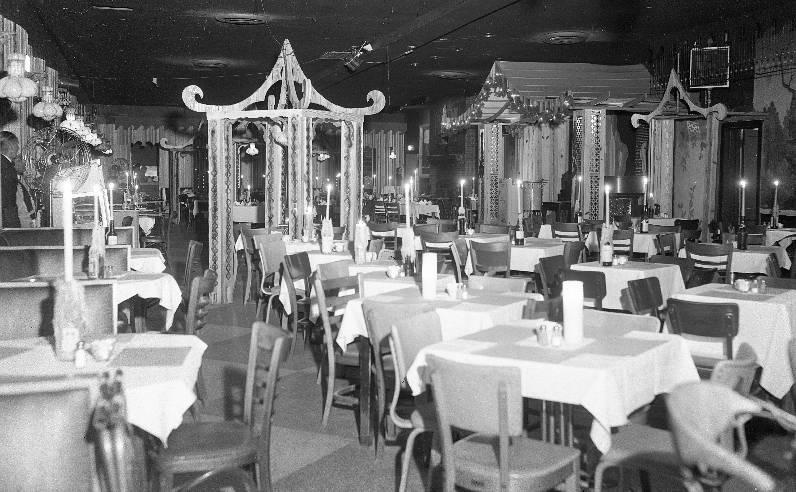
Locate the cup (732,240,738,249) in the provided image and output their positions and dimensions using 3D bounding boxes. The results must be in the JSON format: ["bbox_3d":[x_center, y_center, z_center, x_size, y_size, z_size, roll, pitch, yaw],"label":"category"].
[{"bbox_3d":[4.856,-0.012,9.714,0.062,0.117,0.118,-4,4,1],"label":"cup"}]

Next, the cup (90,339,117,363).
[{"bbox_3d":[-1.980,0.709,4.537,0.139,0.119,0.145,0,-5,0],"label":"cup"}]

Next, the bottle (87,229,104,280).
[{"bbox_3d":[-2.614,0.064,5.811,0.131,0.391,0.410,-6,14,-14],"label":"bottle"}]

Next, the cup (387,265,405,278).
[{"bbox_3d":[-0.013,0.272,6.886,0.104,0.071,0.142,0,-3,35],"label":"cup"}]

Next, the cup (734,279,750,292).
[{"bbox_3d":[3.323,0.393,6.515,0.079,0.090,0.126,0,-2,-18],"label":"cup"}]

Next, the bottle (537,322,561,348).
[{"bbox_3d":[1.075,0.625,4.784,0.167,0.142,0.150,1,14,11],"label":"bottle"}]

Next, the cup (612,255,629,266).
[{"bbox_3d":[2.675,0.182,8.191,0.175,0.123,0.293,-1,-3,4],"label":"cup"}]

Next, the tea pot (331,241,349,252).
[{"bbox_3d":[-0.824,0.010,9.606,0.139,0.154,0.172,0,-3,-22],"label":"tea pot"}]

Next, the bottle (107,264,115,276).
[{"bbox_3d":[-2.766,0.241,6.487,0.058,0.106,0.057,11,32,-7],"label":"bottle"}]

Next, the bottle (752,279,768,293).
[{"bbox_3d":[3.488,0.394,6.503,0.107,0.206,0.110,2,5,0],"label":"bottle"}]

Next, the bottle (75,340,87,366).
[{"bbox_3d":[-2.096,0.717,4.439,0.073,0.142,0.116,-9,16,-28],"label":"bottle"}]

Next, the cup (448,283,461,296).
[{"bbox_3d":[0.513,0.399,6.070,0.110,0.098,0.094,3,-1,21],"label":"cup"}]
